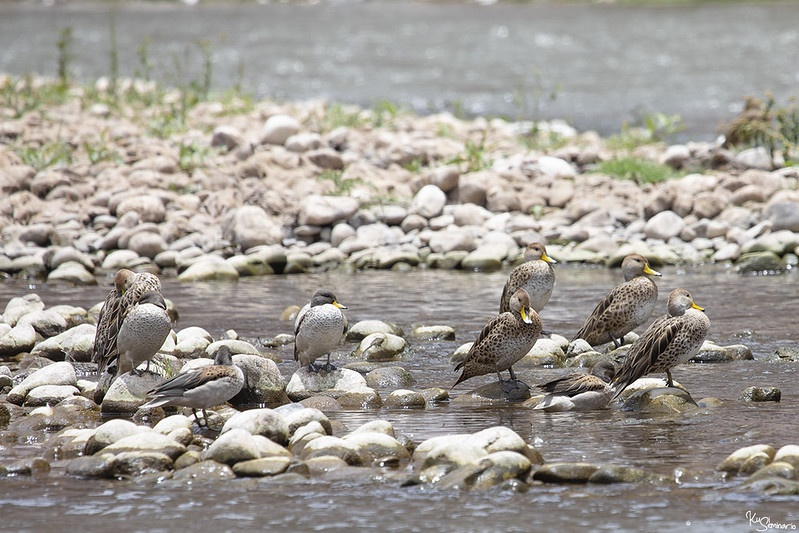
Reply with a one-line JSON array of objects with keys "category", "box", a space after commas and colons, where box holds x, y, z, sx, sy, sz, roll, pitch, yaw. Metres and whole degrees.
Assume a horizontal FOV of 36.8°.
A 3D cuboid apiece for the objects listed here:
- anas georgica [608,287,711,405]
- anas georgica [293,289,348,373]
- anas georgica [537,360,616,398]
[{"category": "anas georgica", "box": [3.730, 1.124, 17.161, 1.306, 1.552, 0.434, -1, 5, 6]}, {"category": "anas georgica", "box": [-1.221, 0.948, 18.100, 0.746, 1.187, 0.674, -2, 5, -4]}, {"category": "anas georgica", "box": [2.575, 1.675, 17.534, 1.312, 0.561, 0.537, 0, 4, -18]}]
